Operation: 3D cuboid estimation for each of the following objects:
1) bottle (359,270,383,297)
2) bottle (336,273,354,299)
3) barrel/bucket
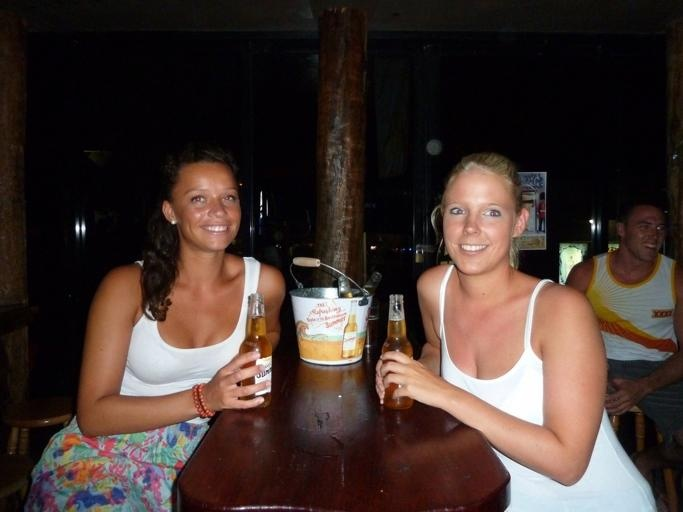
[{"bbox_3d":[0.167,0.155,3.000,0.068,0.029,0.197,39,32,1],"label":"bottle"},{"bbox_3d":[0.017,0.174,2.948,0.073,0.129,0.128,-6,-6,-1],"label":"bottle"},{"bbox_3d":[-0.068,0.284,2.908,0.427,0.562,0.498,1,-3,36],"label":"barrel/bucket"}]
